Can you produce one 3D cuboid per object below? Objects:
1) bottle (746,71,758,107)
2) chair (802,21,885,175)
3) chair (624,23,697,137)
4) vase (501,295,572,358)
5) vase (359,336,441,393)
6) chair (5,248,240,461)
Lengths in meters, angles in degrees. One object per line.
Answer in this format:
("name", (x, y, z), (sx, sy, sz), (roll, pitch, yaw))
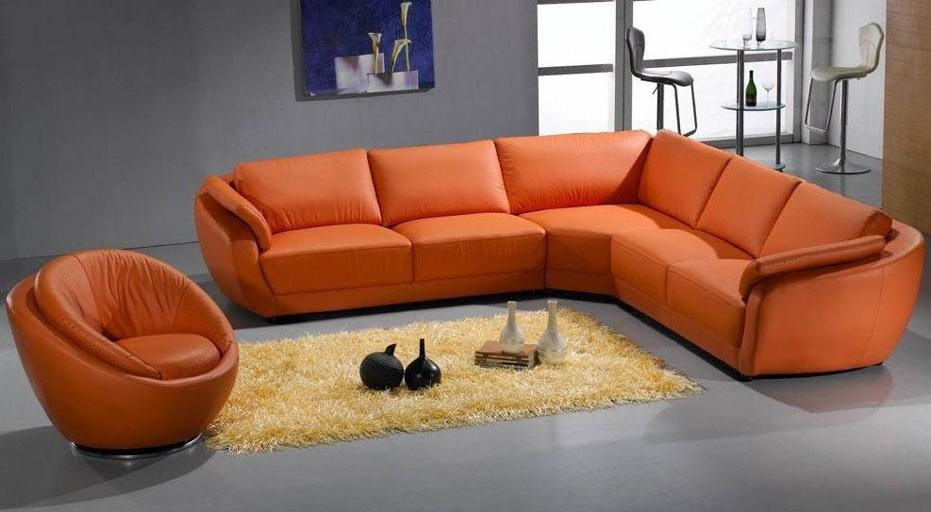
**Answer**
("bottle", (3.637, -2.116, 8.645), (0.137, 0.424, 0.212), (5, 21, 20))
("chair", (4.923, -2.058, 8.882), (0.877, 1.763, 0.787), (-6, 17, 8))
("chair", (2.475, -2.168, 8.664), (0.879, 1.381, 0.792), (9, 29, 22))
("vase", (0.564, 0.578, 5.417), (0.442, 0.349, 0.178), (0, 11, 0))
("vase", (-0.469, 0.783, 4.957), (0.567, 0.359, 0.323), (2, 7, -1))
("chair", (-2.246, 0.625, 4.553), (1.166, 1.151, 1.109), (-15, 23, -33))
